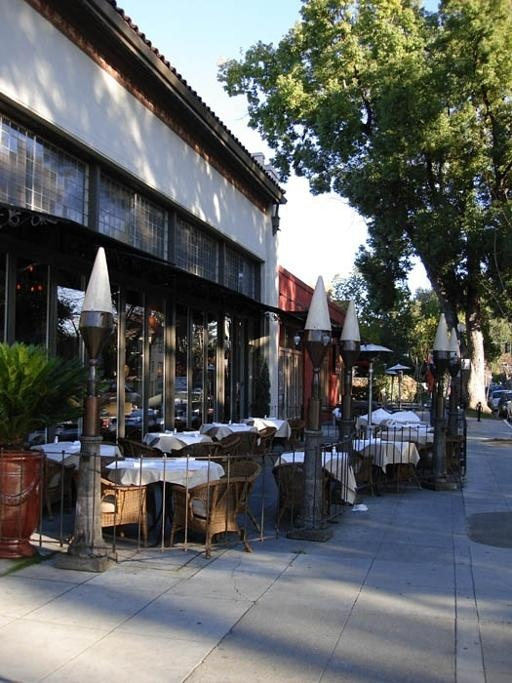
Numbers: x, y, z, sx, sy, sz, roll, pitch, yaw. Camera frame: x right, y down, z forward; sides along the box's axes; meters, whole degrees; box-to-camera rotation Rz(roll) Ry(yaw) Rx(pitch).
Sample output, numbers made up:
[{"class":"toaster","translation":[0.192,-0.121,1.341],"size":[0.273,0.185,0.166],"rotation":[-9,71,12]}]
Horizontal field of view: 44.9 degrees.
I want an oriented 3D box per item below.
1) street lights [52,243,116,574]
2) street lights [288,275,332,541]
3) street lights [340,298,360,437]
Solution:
[{"class":"street lights","translation":[-1.432,0.536,5.426],"size":[0.424,2.772,0.443],"rotation":[1,-5,7]},{"class":"street lights","translation":[0.624,0.695,6.935],"size":[0.429,2.916,0.595],"rotation":[1,-5,5]},{"class":"street lights","translation":[1.411,0.595,9.581],"size":[0.319,2.415,0.382],"rotation":[1,8,-8]}]
